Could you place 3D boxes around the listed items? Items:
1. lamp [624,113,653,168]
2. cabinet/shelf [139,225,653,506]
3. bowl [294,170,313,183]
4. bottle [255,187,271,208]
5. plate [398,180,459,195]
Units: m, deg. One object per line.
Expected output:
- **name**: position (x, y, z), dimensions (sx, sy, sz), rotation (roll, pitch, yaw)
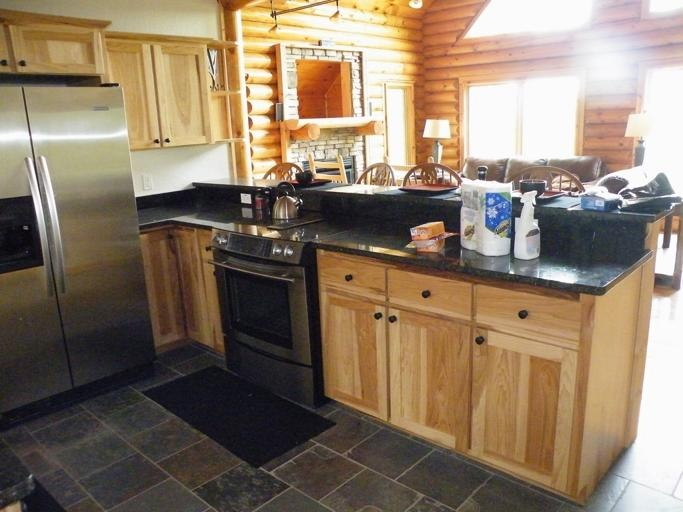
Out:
- **lamp**: position (3.990, -1.552, 7.091), dimensions (0.290, 0.718, 0.789), rotation (6, 18, 26)
- **cabinet/shelf**: position (0.724, 0.572, 2.986), dimensions (1.666, 1.202, 0.626), rotation (6, 20, 27)
- **bowl**: position (-0.302, -0.637, 4.291), dimensions (0.144, 0.076, 0.120), rotation (1, 6, 23)
- **bottle**: position (-0.638, -0.474, 4.302), dimensions (0.126, 0.157, 0.215), rotation (-4, 16, -6)
- **plate**: position (0.623, -0.467, 3.635), dimensions (0.394, 0.044, 0.485), rotation (5, 15, 27)
